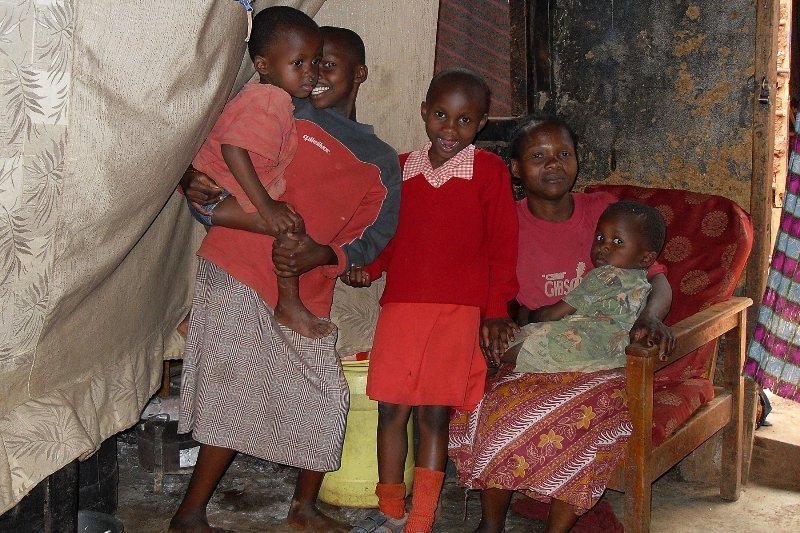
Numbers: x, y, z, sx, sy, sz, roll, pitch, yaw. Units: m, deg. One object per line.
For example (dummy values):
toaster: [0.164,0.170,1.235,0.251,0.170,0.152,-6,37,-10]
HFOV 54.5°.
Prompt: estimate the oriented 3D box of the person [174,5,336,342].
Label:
person: [-0.484,-0.364,2.927,0.557,0.972,0.266,5,2,-16]
